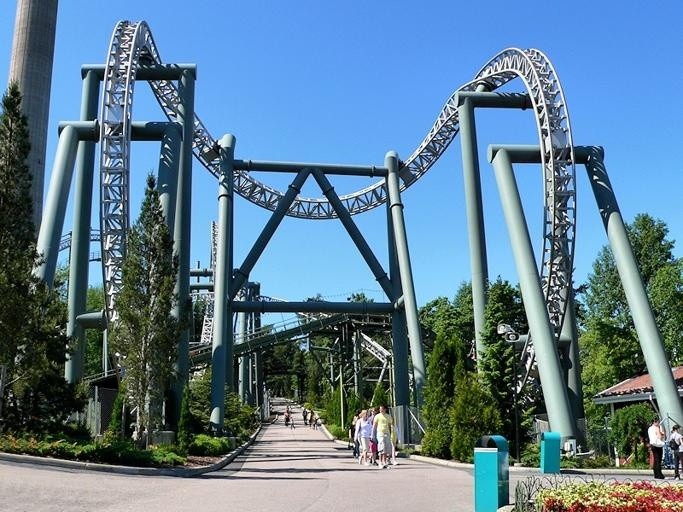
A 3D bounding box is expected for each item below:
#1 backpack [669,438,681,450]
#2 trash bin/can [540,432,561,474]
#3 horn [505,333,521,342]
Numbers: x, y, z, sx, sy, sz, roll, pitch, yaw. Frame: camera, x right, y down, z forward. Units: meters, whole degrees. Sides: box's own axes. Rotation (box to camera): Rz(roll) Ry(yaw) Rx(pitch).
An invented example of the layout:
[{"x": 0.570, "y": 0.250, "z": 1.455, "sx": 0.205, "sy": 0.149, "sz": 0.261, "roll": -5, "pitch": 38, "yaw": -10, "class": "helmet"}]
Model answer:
[{"x": 10.881, "y": 6.163, "z": 21.634, "sx": 0.241, "sy": 0.363, "sz": 0.123, "roll": -13, "pitch": -22, "yaw": 43, "class": "backpack"}, {"x": 6.446, "y": 6.068, "z": 20.368, "sx": 0.615, "sy": 1.201, "sz": 0.460, "roll": -4, "pitch": -15, "yaw": 9, "class": "trash bin/can"}, {"x": 6.173, "y": 2.945, "z": 23.984, "sx": 0.454, "sy": 0.414, "sz": 0.754, "roll": 3, "pitch": -3, "yaw": 6, "class": "horn"}]
